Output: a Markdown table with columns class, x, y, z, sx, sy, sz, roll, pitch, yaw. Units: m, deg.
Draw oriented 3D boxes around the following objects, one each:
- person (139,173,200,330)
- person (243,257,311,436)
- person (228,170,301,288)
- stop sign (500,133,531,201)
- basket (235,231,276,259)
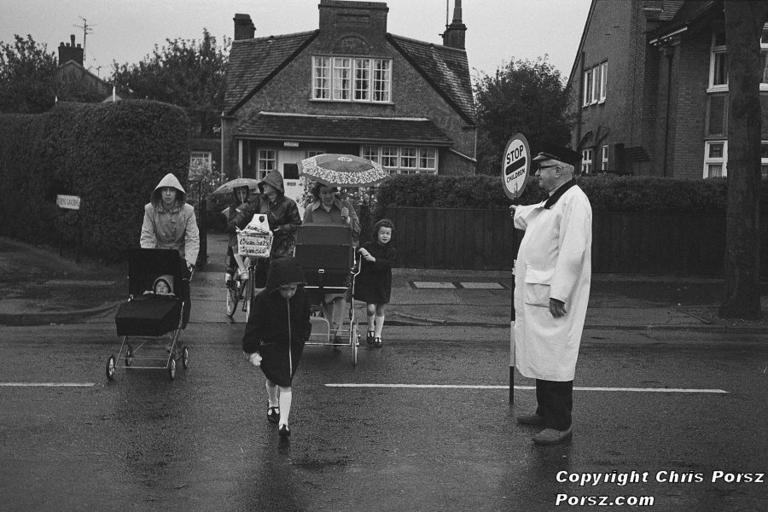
| class | x | y | z | sx | sy | sz | roll | pitch | yaw |
| --- | --- | --- | --- | --- | --- | --- | --- | --- | --- |
| person | -3.493 | -0.123 | 16.681 | 0.947 | 2.538 | 1.061 | 0 | 1 | -14 |
| person | -1.483 | 1.234 | 14.358 | 0.877 | 2.372 | 1.164 | 1 | 8 | -1 |
| person | -2.182 | -0.669 | 19.073 | 0.824 | 2.443 | 1.072 | 0 | 1 | -7 |
| stop sign | 2.085 | -1.435 | 15.893 | 0.507 | 1.025 | 0.597 | 1 | -7 | 1 |
| basket | -2.344 | -0.209 | 18.311 | 0.486 | 0.329 | 0.492 | 2 | -3 | -11 |
